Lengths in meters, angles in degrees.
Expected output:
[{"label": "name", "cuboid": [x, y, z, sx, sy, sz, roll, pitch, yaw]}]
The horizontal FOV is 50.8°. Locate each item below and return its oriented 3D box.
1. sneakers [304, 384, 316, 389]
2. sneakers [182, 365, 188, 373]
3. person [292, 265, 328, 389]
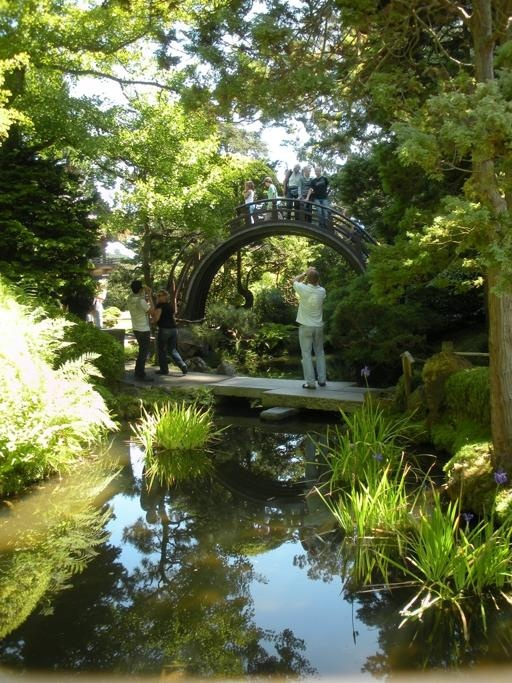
[{"label": "sneakers", "cuboid": [0.781, 0.641, 7.716, 0.142, 0.094, 0.072, 6, -2, 3]}, {"label": "sneakers", "cuboid": [-1.285, 0.520, 9.687, 0.072, 0.188, 0.074, -2, 32, -6]}, {"label": "person", "cuboid": [0.763, -0.145, 7.503, 0.427, 1.680, 0.968, 1, 3, 8]}]
